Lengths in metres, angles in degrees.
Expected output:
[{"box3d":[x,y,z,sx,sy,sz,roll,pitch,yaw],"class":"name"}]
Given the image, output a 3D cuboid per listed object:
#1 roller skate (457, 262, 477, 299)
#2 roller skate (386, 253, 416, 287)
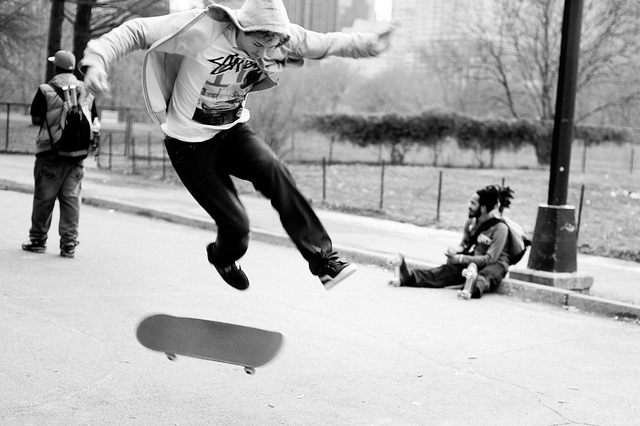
[{"box3d":[2.022,0.906,9.616,0.235,0.575,0.172,9,0,-42],"class":"roller skate"},{"box3d":[1.142,0.852,10.028,0.223,0.673,0.293,-13,-2,22],"class":"roller skate"}]
